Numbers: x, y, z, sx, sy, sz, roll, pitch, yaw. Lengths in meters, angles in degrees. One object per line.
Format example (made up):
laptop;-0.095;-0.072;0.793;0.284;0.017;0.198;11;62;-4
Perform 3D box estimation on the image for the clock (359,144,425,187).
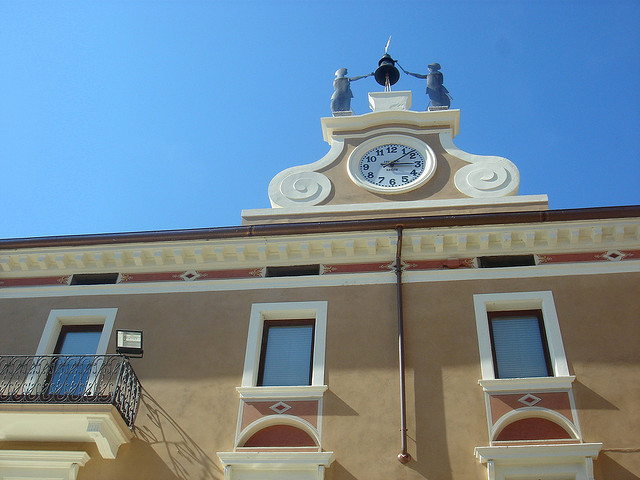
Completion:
clock;1.753;-1.856;19.222;1.618;1.517;0.155;-3;-37;5
